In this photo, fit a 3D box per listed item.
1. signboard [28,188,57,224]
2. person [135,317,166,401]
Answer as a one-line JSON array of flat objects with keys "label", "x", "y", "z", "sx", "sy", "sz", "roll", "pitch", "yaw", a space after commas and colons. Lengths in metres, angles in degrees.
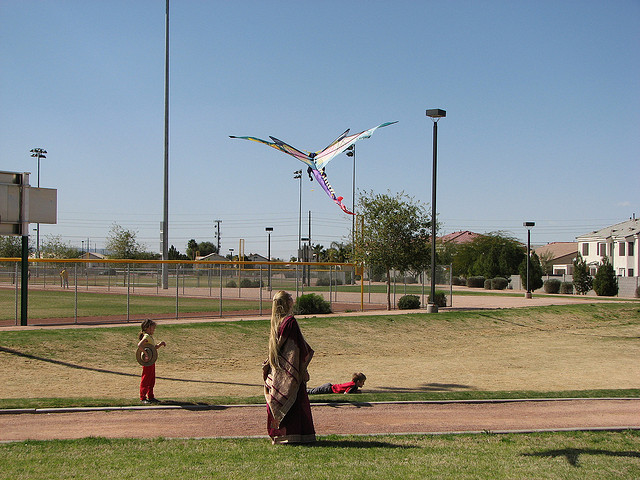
[{"label": "signboard", "x": -10.118, "y": -1.117, "z": 39.935, "sx": 1.197, "sy": 1.139, "sz": 0.680, "roll": 2, "pitch": 7, "yaw": -33}, {"label": "person", "x": -4.864, "y": 3.432, "z": 31.091, "sx": 0.729, "sy": 2.171, "sz": 0.783, "roll": -2, "pitch": -4, "yaw": 20}]
